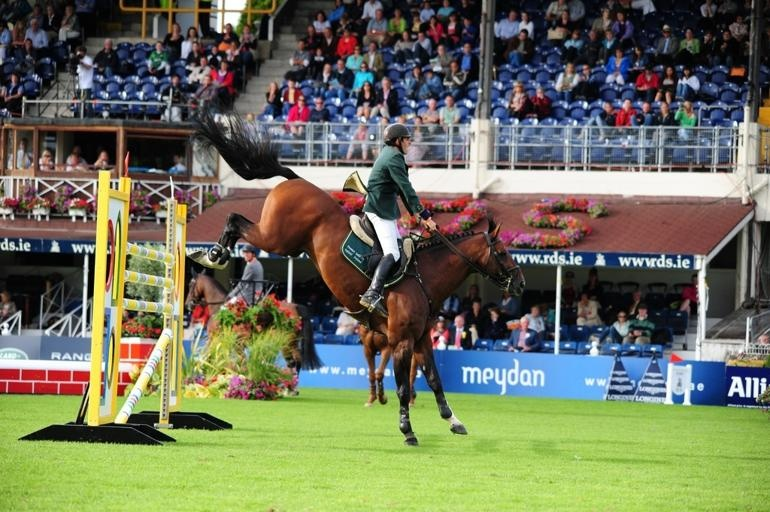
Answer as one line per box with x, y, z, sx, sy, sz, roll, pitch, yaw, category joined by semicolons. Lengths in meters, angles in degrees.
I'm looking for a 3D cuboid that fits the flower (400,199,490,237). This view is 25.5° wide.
2.123;-1.129;50.092;1.858;0.537;1.391;-6;18;22;flower

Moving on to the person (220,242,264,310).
-3.670;0.866;44.158;1.087;2.058;0.783;3;6;16;person

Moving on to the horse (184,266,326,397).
-3.504;2.070;44.127;3.888;3.143;1.033;4;12;9;horse

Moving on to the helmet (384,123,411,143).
0.278;-2.697;37.778;0.515;0.332;0.363;-8;9;-7;helmet

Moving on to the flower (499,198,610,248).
5.017;-0.849;49.240;1.513;0.413;2.595;0;17;20;flower
